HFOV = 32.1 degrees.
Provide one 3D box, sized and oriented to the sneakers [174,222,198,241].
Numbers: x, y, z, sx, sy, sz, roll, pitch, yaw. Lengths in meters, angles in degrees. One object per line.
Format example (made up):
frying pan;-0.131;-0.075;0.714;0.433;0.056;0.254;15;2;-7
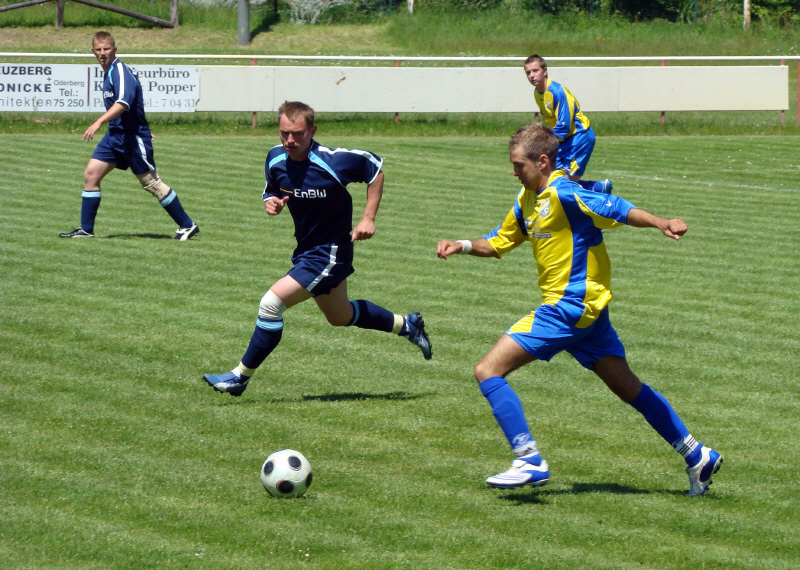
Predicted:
sneakers;-2.696;-0.686;17.916;0.380;0.131;0.177;-21;-1;10

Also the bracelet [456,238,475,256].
bracelet;0.595;-0.355;12.780;0.128;0.121;0.093;-2;12;13

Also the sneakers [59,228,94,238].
sneakers;-4.061;-0.654;17.698;0.444;0.153;0.155;4;-1;-3

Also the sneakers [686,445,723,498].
sneakers;2.719;1.654;12.403;0.304;0.559;0.195;2;20;-8

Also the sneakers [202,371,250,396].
sneakers;-1.679;0.932;13.608;0.390;0.167;0.217;22;4;-18

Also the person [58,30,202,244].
person;-3.468;-1.872;17.585;1.506;2.596;0.728;-2;16;-13
